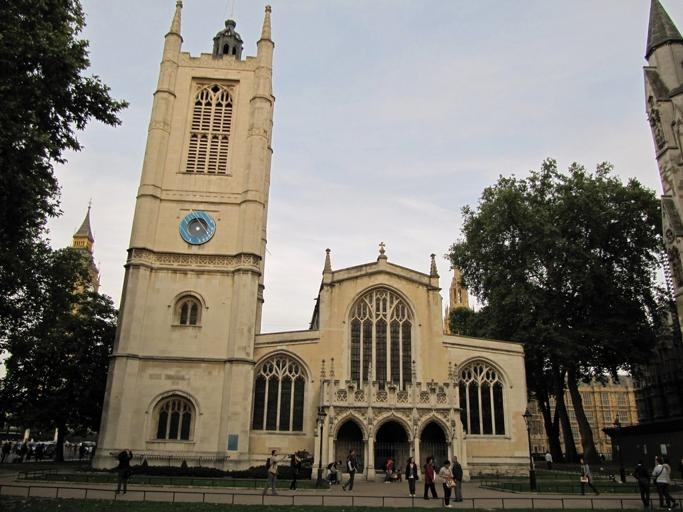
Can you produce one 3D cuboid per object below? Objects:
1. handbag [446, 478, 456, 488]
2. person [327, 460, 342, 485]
[{"bbox_3d":[5.208,10.771,25.380,0.319,0.373,0.723,-11,-24,28],"label":"handbag"},{"bbox_3d":[-0.541,13.851,34.166,0.868,1.531,1.128,-19,-25,39],"label":"person"}]
